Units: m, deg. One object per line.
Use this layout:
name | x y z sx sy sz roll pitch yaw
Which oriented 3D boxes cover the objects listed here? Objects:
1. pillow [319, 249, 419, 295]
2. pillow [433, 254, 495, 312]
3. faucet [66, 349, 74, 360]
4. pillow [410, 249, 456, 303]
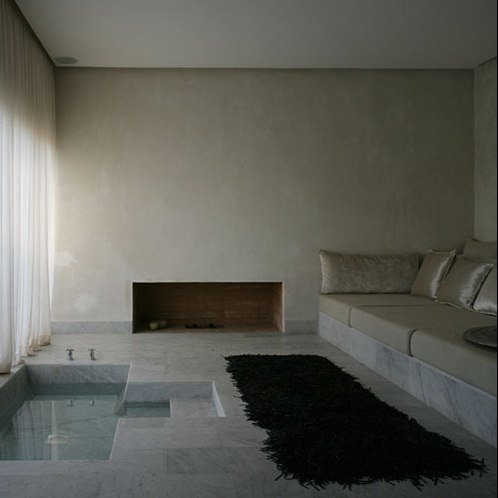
pillow | 1.376 0.277 5.018 1.097 0.542 0.304 -1 -10 15
pillow | 1.883 0.275 3.748 0.119 0.408 0.451 24 6 -3
faucet | -1.625 0.955 3.898 0.079 0.111 0.061 1 -7 -11
pillow | 1.896 0.243 4.465 0.140 0.466 0.499 19 4 -6
